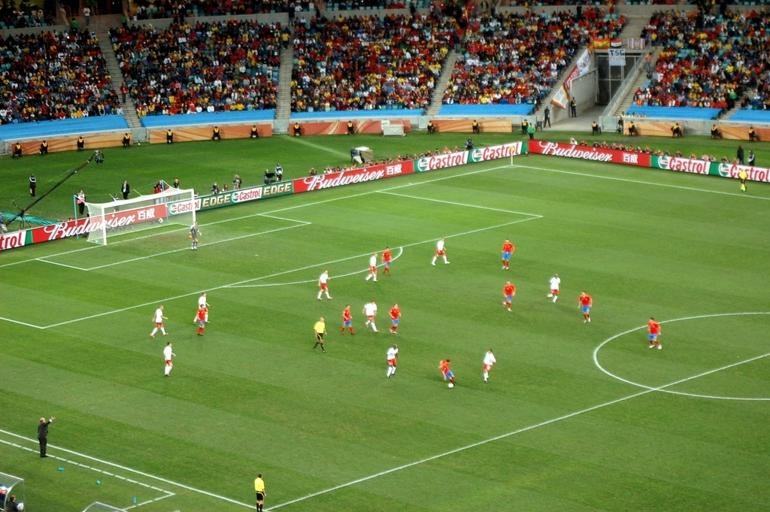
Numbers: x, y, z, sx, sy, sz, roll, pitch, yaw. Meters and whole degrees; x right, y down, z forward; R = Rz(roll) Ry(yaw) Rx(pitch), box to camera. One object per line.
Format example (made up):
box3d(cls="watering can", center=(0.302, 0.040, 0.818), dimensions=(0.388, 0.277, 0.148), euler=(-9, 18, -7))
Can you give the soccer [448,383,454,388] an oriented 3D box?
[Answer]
box3d(cls="soccer", center=(3.928, 7.687, 67.301), dimensions=(0.316, 0.193, 0.333), euler=(2, 24, 2))
